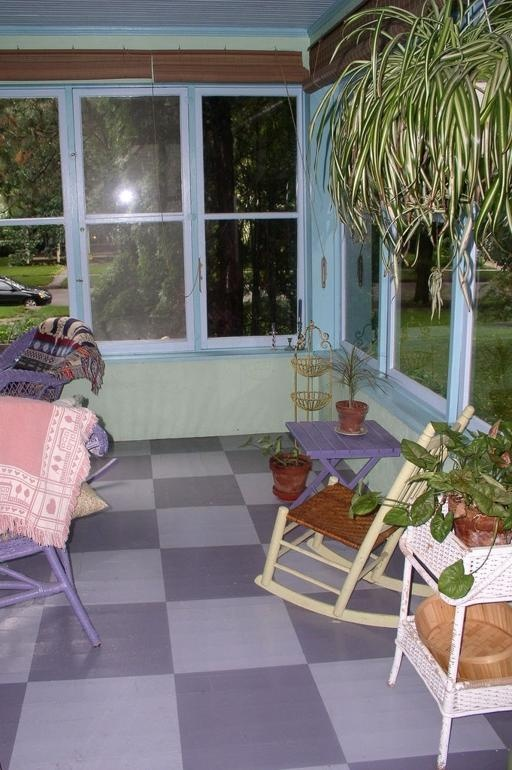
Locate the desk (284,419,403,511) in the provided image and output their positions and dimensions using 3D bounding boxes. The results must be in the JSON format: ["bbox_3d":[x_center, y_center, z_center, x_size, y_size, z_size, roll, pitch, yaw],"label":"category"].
[{"bbox_3d":[0.489,0.499,3.183,0.534,0.518,0.547,-5,22,-13],"label":"desk"}]

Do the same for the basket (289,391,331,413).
[{"bbox_3d":[0.459,0.133,4.728,0.217,0.082,0.203,6,12,31],"label":"basket"}]

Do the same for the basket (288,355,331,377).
[{"bbox_3d":[0.459,-0.153,4.791,0.216,0.091,0.220,3,12,13],"label":"basket"}]

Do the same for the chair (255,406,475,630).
[{"bbox_3d":[0.431,0.548,2.588,0.680,0.952,0.798,-3,17,-25],"label":"chair"}]
